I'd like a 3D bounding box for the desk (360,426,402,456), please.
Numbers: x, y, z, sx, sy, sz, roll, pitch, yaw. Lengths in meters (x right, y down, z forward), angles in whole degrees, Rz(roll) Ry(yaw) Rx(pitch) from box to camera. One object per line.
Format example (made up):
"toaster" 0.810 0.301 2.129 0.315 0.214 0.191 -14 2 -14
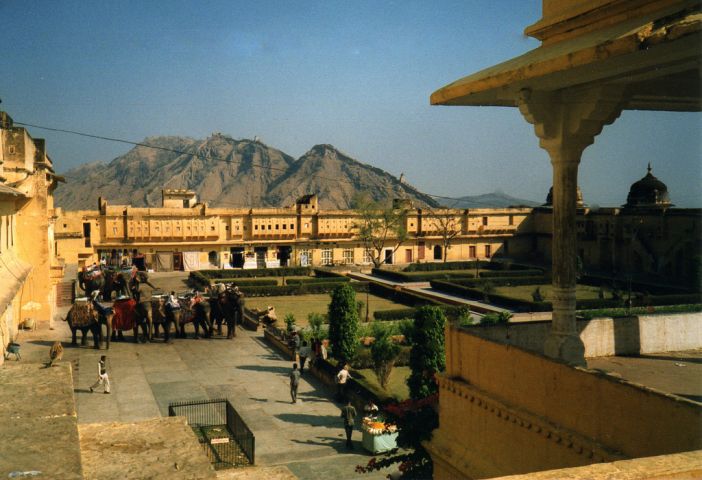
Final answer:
"desk" 0.748 5.216 17.404 0.867 0.769 0.852 3 5 1

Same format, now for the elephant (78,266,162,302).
"elephant" -12.105 2.339 34.383 3.974 1.310 1.732 0 3 10
